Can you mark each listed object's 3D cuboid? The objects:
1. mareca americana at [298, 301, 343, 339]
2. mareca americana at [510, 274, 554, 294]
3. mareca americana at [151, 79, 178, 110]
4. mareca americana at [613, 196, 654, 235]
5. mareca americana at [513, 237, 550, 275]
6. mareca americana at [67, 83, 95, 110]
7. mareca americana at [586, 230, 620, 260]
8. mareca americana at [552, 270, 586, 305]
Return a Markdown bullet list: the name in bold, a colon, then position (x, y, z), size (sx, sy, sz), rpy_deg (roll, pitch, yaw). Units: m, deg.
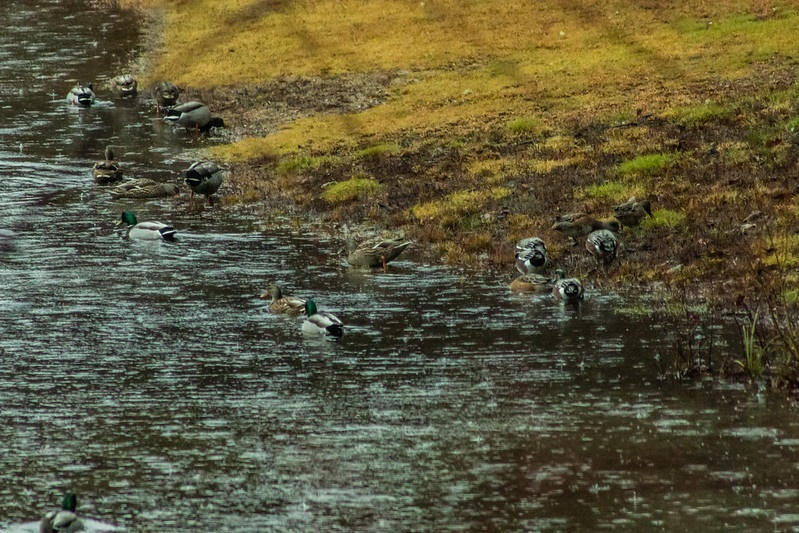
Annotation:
- **mareca americana**: position (-2.226, 1.521, 52.466), size (0.811, 0.920, 1.431), rpy_deg (0, 9, -40)
- **mareca americana**: position (4.122, 0.451, 55.036), size (1.168, 0.422, 0.569), rpy_deg (-1, 10, 34)
- **mareca americana**: position (-10.251, -7.711, 77.111), size (0.744, 0.709, 1.716), rpy_deg (-1, 18, -6)
- **mareca americana**: position (7.720, -1.867, 58.509), size (1.256, 0.948, 0.660), rpy_deg (-4, 7, 7)
- **mareca americana**: position (4.062, -0.392, 56.124), size (1.030, 1.150, 0.887), rpy_deg (1, 9, 45)
- **mareca americana**: position (-13.995, -7.594, 77.478), size (0.853, 0.822, 1.412), rpy_deg (-1, 4, -19)
- **mareca americana**: position (6.474, -0.725, 56.393), size (0.756, 0.704, 1.055), rpy_deg (-7, 33, -8)
- **mareca americana**: position (5.163, 0.527, 54.453), size (0.952, 0.972, 0.845), rpy_deg (-4, 7, 5)
